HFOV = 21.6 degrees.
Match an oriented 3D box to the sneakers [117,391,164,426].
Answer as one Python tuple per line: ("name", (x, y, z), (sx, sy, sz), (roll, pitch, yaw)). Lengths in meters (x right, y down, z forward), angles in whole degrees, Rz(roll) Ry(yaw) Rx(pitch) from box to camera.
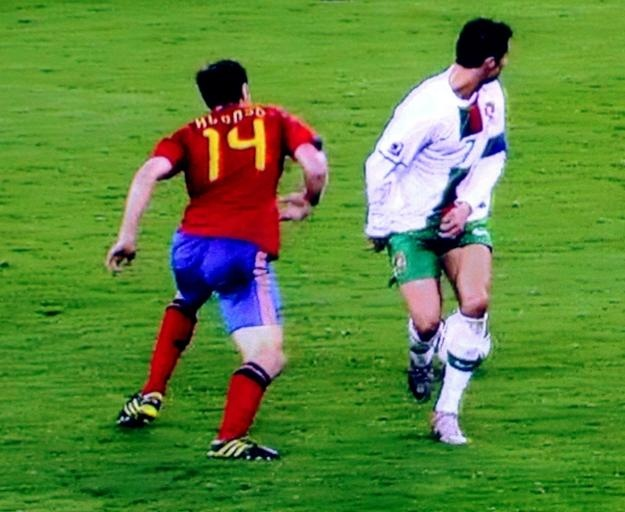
("sneakers", (-1.049, 0.946, 10.107), (0.181, 0.197, 0.466), (21, -21, -16))

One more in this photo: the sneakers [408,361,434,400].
("sneakers", (0.675, 0.769, 10.547), (0.193, 0.281, 0.297), (-1, 1, 5))

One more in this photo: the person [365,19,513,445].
("person", (0.880, -0.224, 10.123), (0.826, 2.313, 0.853), (-16, 31, -35))

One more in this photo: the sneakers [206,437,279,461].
("sneakers", (-0.420, 1.150, 9.690), (0.429, 0.165, 0.149), (1, 6, -2))

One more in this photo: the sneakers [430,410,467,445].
("sneakers", (0.781, 1.061, 10.074), (0.244, 0.233, 0.150), (2, -5, -9))
